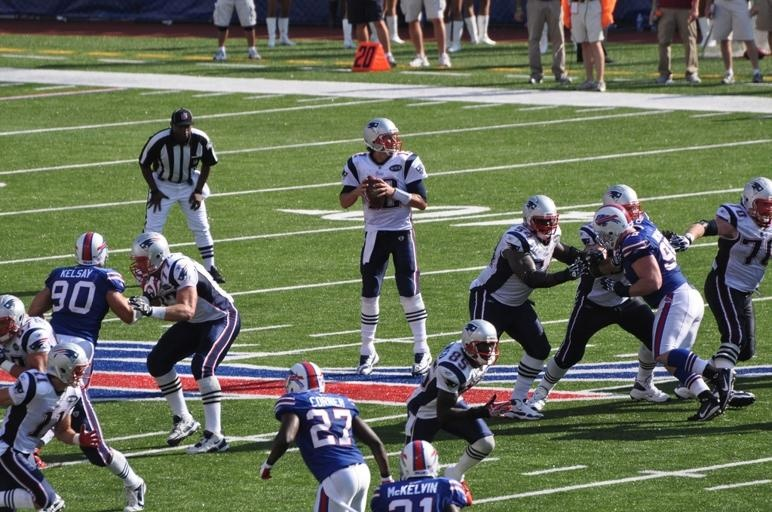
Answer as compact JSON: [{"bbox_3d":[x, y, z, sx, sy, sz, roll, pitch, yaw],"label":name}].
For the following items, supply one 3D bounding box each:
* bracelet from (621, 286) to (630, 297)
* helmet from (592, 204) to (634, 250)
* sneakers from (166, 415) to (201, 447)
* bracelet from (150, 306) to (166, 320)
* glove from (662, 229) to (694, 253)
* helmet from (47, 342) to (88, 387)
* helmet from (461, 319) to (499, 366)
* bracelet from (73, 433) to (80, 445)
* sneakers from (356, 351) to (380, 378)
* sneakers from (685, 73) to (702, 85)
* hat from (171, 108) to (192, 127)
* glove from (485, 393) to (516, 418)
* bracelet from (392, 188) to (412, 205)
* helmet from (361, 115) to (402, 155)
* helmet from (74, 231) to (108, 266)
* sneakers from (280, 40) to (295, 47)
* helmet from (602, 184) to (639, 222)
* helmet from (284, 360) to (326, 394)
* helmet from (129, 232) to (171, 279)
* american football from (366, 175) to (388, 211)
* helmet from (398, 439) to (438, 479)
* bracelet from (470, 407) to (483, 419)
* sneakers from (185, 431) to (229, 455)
[{"bbox_3d":[2.366,0.356,14.680,0.083,0.086,0.085,1,1,0],"label":"bracelet"},{"bbox_3d":[2.206,-0.283,14.599,0.415,0.427,0.310,-1,4,19],"label":"helmet"},{"bbox_3d":[-1.990,1.690,14.623,0.154,0.231,0.440,-10,19,41],"label":"sneakers"},{"bbox_3d":[-2.186,0.536,14.374,0.100,0.134,0.062,11,-14,3],"label":"bracelet"},{"bbox_3d":[2.972,-0.129,15.173,0.274,0.219,0.133,20,-28,-1],"label":"glove"},{"bbox_3d":[-2.830,0.941,13.380,0.381,0.360,0.293,19,12,-5],"label":"helmet"},{"bbox_3d":[0.817,0.767,13.576,0.290,0.379,0.397,1,6,-37],"label":"helmet"},{"bbox_3d":[-2.825,1.654,13.587,0.074,0.058,0.076,30,14,-14],"label":"bracelet"},{"bbox_3d":[-0.191,1.143,15.848,0.117,0.160,0.340,3,33,20],"label":"sneakers"},{"bbox_3d":[5.445,-3.119,26.382,0.387,0.182,0.132,7,14,39],"label":"sneakers"},{"bbox_3d":[-2.454,-1.631,17.840,0.184,0.148,0.254,-6,21,-22],"label":"hat"},{"bbox_3d":[1.048,1.359,13.577,0.235,0.242,0.103,-13,3,-6],"label":"glove"},{"bbox_3d":[0.181,-0.632,15.931,0.143,0.188,0.145,4,37,-30],"label":"bracelet"},{"bbox_3d":[-0.058,-1.304,16.144,0.392,0.323,0.316,8,18,29],"label":"helmet"},{"bbox_3d":[-2.879,-0.086,14.610,0.254,0.293,0.327,6,31,0],"label":"helmet"},{"bbox_3d":[-2.281,-4.885,34.435,0.405,0.196,0.135,-6,18,0],"label":"sneakers"},{"bbox_3d":[2.394,-0.539,15.013,0.390,0.359,0.288,10,12,15],"label":"helmet"},{"bbox_3d":[-0.743,1.069,13.259,0.230,0.258,0.305,2,-3,-19],"label":"helmet"},{"bbox_3d":[-2.372,-0.020,14.711,0.443,0.439,0.359,-3,6,-16],"label":"helmet"},{"bbox_3d":[-0.105,-0.664,15.929,0.202,0.341,0.100,0,9,-1],"label":"american football"},{"bbox_3d":[0.289,1.706,12.658,0.254,0.274,0.326,3,3,-1],"label":"helmet"},{"bbox_3d":[0.827,1.403,13.485,0.117,0.108,0.060,0,9,4],"label":"bracelet"},{"bbox_3d":[-1.730,1.800,14.505,0.455,0.228,0.164,0,3,-8],"label":"sneakers"}]
